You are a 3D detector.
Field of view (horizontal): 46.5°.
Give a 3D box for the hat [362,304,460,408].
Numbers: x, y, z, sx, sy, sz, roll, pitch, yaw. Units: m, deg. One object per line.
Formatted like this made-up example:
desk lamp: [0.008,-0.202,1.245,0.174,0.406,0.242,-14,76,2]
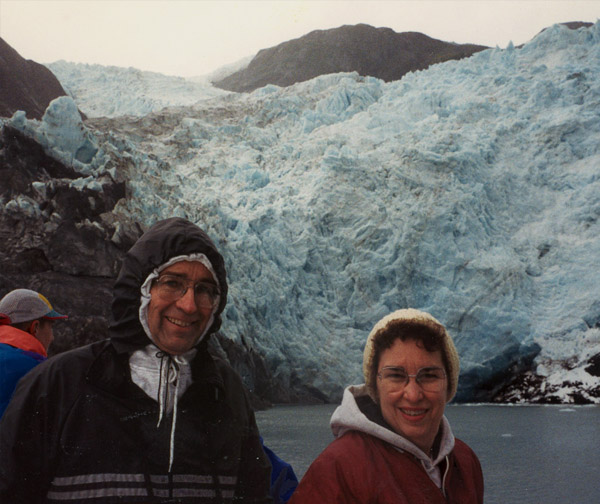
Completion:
hat: [0.401,0.366,2.563,0.291,0.327,0.357,3,-26,6]
